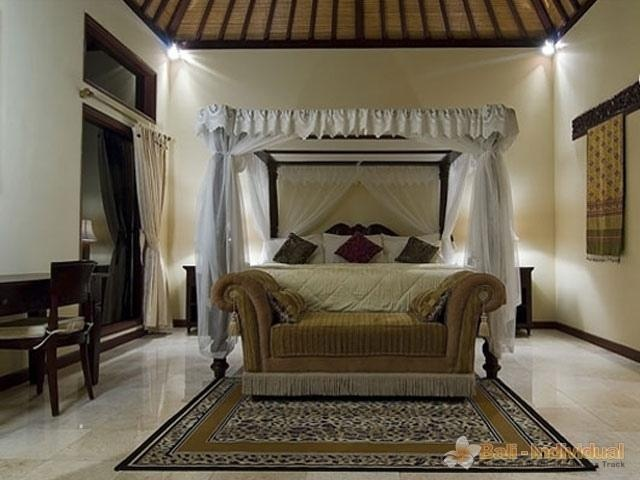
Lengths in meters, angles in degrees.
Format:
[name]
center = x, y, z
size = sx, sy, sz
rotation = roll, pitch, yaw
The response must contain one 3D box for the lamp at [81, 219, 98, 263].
[lamp]
center = -2.540, -0.007, 5.165
size = 0.140, 0.435, 0.218
rotation = -3, 8, -23
